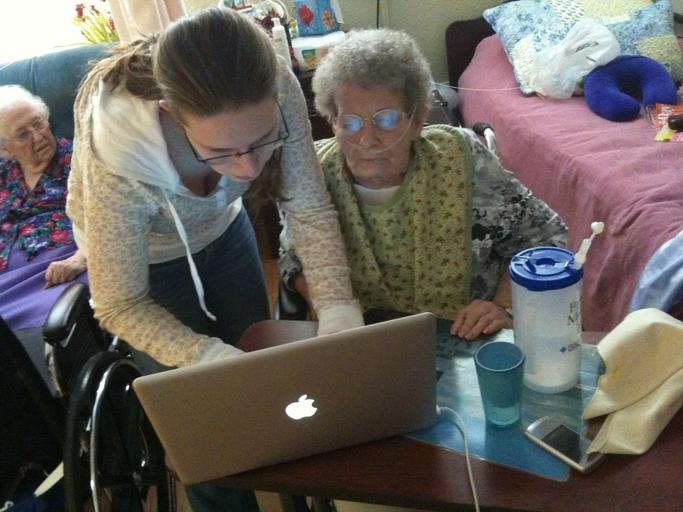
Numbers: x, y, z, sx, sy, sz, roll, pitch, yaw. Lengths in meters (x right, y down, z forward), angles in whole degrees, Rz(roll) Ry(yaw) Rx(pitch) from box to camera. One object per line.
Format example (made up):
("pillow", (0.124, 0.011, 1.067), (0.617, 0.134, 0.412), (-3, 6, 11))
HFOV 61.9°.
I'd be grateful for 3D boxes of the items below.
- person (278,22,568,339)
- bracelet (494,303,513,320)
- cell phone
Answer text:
("person", (0.254, -0.024, 1.935), (0.955, 1.290, 0.557), (-8, 23, 4))
("bracelet", (0.464, 0.166, 1.621), (0.011, 0.046, 0.042), (-29, 60, 26))
("cell phone", (0.469, 0.401, 1.183), (0.103, 0.022, 0.170), (-21, 30, -28))
